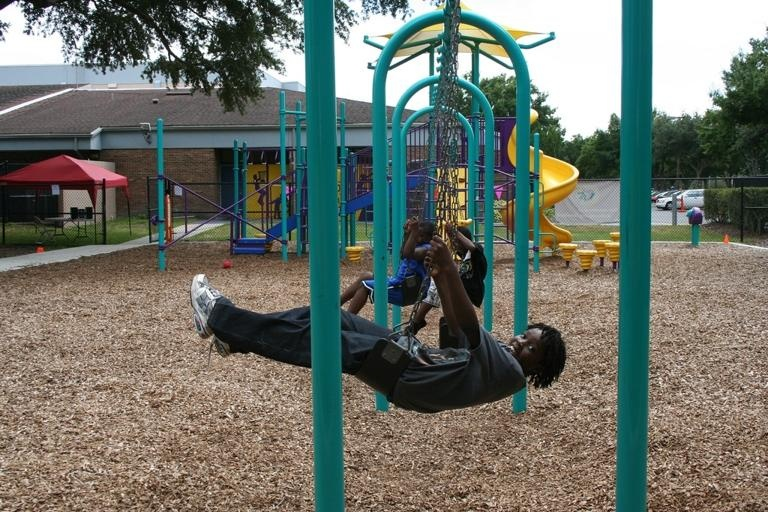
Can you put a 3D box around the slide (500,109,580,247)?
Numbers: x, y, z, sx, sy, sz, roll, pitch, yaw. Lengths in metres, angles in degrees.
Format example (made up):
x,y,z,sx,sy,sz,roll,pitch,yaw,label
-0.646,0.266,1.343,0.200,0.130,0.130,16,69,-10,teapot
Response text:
x,y,z,sx,sy,sz,roll,pitch,yaw,label
3.333,-1.438,18.451,1.451,3.293,8.807,1,9,12,slide

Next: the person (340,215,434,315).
x,y,z,sx,sy,sz,roll,pitch,yaw,label
-0.043,0.215,10.395,1.254,1.356,0.571,8,9,6,person

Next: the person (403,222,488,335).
x,y,z,sx,sy,sz,roll,pitch,yaw,label
0.747,0.307,9.659,0.875,1.356,0.781,20,-12,-16,person
